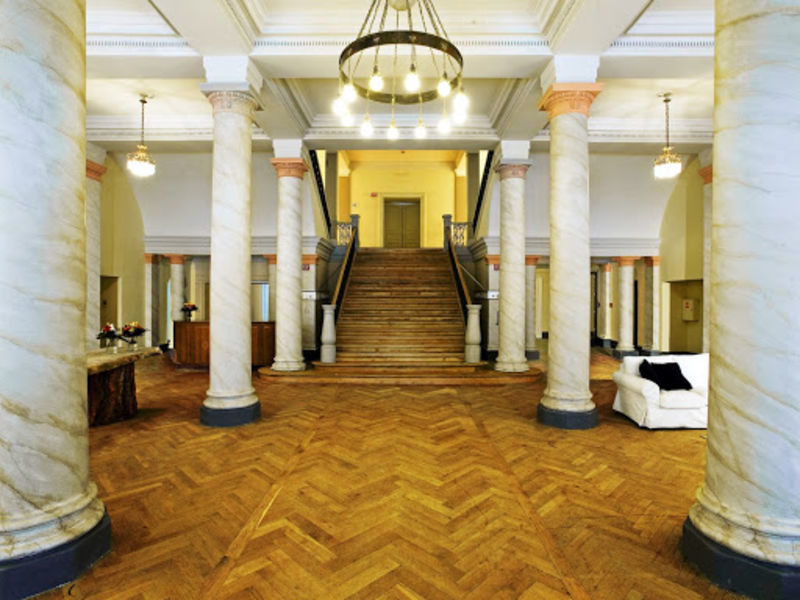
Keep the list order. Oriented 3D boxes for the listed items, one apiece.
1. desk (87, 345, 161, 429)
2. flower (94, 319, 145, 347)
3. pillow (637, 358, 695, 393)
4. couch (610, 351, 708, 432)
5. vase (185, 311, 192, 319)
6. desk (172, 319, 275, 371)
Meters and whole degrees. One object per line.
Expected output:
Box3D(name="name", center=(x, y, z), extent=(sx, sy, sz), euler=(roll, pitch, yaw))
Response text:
Box3D(name="desk", center=(-3.425, 1.037, 7.175), extent=(0.579, 0.879, 1.081), euler=(2, 12, 13))
Box3D(name="flower", center=(-4.587, 0.545, 9.833), extent=(0.734, 0.356, 0.744), euler=(-5, -6, 42))
Box3D(name="pillow", center=(3.240, 0.929, 7.420), extent=(0.429, 0.141, 0.481), euler=(-6, 28, -12))
Box3D(name="couch", center=(3.170, 1.178, 7.396), extent=(1.330, 0.658, 0.790), euler=(0, -4, -7))
Box3D(name="vase", center=(-4.658, 0.316, 13.291), extent=(0.168, 0.161, 0.163), euler=(1, -3, -14))
Box3D(name="desk", center=(-3.229, 1.010, 11.874), extent=(2.245, 1.175, 0.649), euler=(6, -22, -39))
